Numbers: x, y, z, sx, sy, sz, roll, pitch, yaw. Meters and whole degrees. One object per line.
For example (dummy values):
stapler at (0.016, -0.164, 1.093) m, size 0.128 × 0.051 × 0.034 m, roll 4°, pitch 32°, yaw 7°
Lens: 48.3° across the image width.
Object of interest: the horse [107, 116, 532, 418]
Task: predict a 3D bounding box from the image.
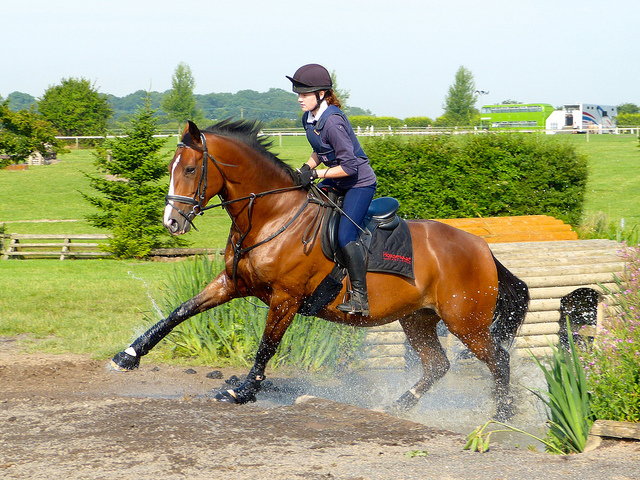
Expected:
horse at (0.238, 0.416, 7.993) m, size 5.081 × 2.358 × 1.219 m, roll 12°, pitch -17°, yaw -21°

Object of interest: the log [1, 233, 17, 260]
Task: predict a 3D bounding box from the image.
log at (-8.096, 0.241, 18.676) m, size 0.255 × 0.445 × 0.767 m, roll -1°, pitch 8°, yaw -14°

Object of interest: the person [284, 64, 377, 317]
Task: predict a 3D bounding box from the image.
person at (0.134, -0.505, 7.641) m, size 0.955 × 2.678 × 0.615 m, roll 3°, pitch 9°, yaw 9°

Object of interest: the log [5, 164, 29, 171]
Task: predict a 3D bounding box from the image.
log at (-16.336, -3.951, 38.672) m, size 1.056 × 0.340 × 1.790 m, roll 1°, pitch 7°, yaw 5°

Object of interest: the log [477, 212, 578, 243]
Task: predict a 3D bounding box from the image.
log at (3.104, -0.196, 11.190) m, size 1.511 × 0.336 × 0.919 m, roll -2°, pitch 9°, yaw -17°
